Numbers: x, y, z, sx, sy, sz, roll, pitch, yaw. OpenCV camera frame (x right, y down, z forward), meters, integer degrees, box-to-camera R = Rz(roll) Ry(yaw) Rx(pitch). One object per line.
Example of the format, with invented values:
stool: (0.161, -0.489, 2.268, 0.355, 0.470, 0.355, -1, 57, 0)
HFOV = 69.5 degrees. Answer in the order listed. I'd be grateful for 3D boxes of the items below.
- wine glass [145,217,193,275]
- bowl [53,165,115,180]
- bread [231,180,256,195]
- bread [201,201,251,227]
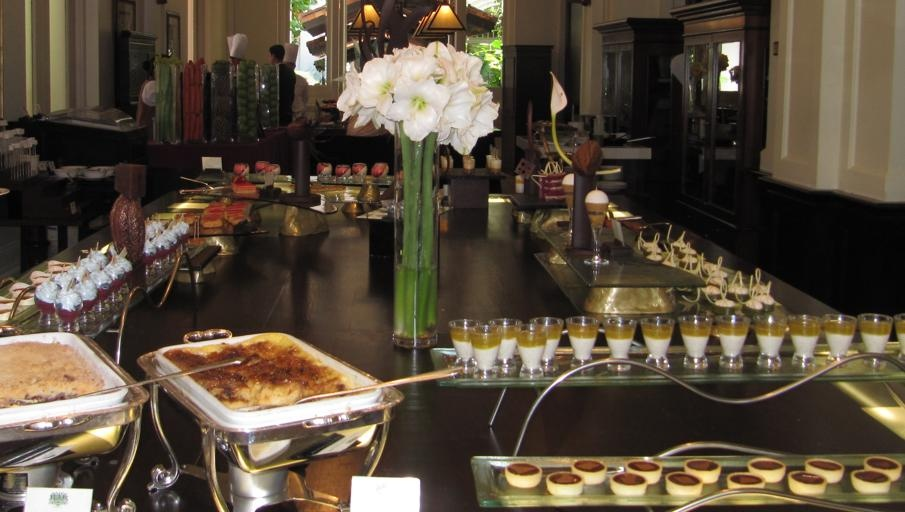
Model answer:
wine glass: (-1.212, -0.055, 2.761, 0.161, 0.099, 0.253, -1, 9, -12)
bowl: (-2.846, -0.631, 4.995, 0.428, 0.088, 0.326, 1, 12, 11)
bread: (-1.187, -0.383, 3.736, 0.100, 0.025, 0.094, 2, 17, -2)
bread: (-1.124, -0.201, 3.201, 0.154, 0.046, 0.156, -1, 17, 6)
